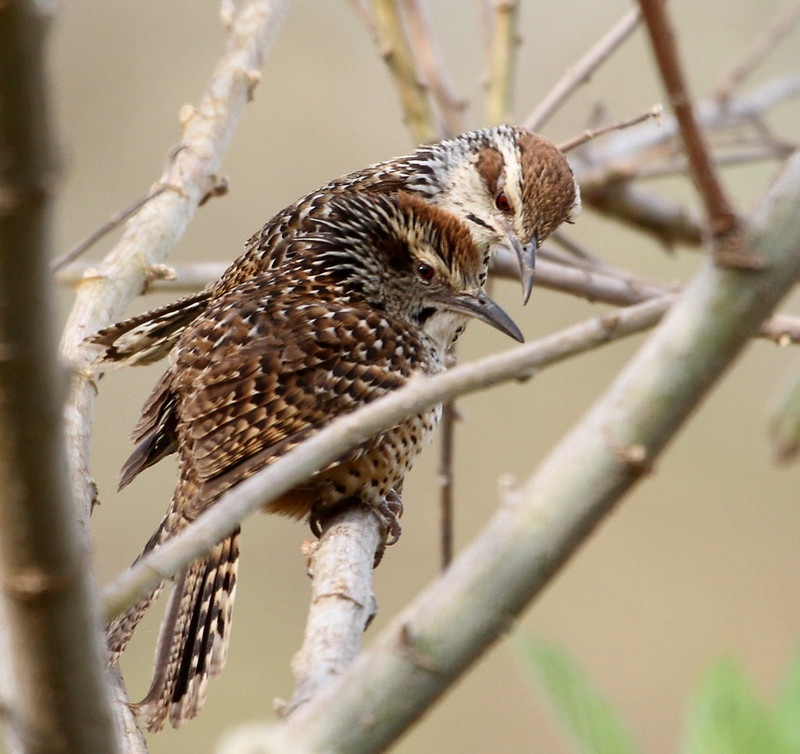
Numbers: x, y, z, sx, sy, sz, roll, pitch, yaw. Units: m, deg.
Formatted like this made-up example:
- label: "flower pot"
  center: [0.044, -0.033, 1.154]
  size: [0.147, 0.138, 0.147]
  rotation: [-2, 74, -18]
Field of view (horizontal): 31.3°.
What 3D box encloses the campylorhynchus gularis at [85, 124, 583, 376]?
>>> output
- label: "campylorhynchus gularis"
  center: [-0.360, -0.365, 3.883]
  size: [1.786, 0.514, 0.649]
  rotation: [-6, -81, -9]
